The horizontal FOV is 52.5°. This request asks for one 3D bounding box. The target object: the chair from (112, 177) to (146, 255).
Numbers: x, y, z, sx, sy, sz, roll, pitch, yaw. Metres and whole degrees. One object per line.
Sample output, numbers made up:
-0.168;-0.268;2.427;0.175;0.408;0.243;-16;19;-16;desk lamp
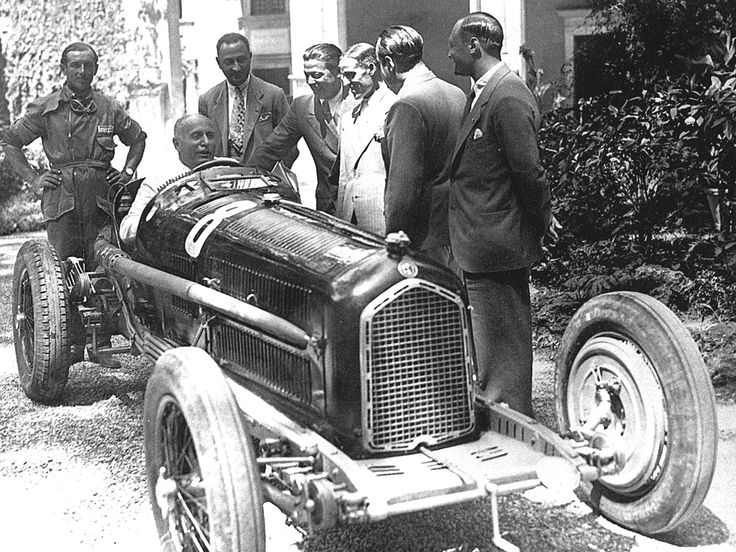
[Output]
-1.833;-0.453;5.656;0.236;0.558;0.354;2;0;37;chair
